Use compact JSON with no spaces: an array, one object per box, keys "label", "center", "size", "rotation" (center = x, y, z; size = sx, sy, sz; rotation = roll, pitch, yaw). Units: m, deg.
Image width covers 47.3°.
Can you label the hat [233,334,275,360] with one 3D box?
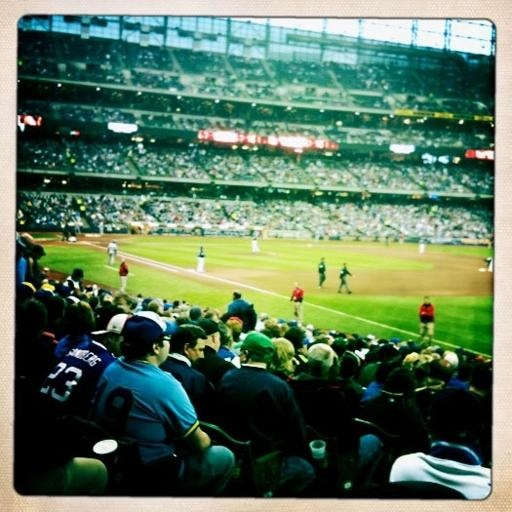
[{"label":"hat","center":[0.026,0.738,4.794],"size":[0.254,0.171,0.298],"rotation":[3,5,2]}]

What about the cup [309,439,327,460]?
[{"label":"cup","center":[0.541,1.622,4.966],"size":[0.167,0.116,0.162],"rotation":[0,9,0]}]

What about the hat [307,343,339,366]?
[{"label":"hat","center":[0.587,0.873,5.262],"size":[0.250,0.211,0.177],"rotation":[-9,10,-42]}]

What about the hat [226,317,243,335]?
[{"label":"hat","center":[-0.248,0.875,7.266],"size":[0.171,0.188,0.215],"rotation":[0,8,-4]}]

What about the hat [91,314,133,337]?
[{"label":"hat","center":[-1.268,0.615,5.263],"size":[0.373,0.136,0.238],"rotation":[1,3,-8]}]
